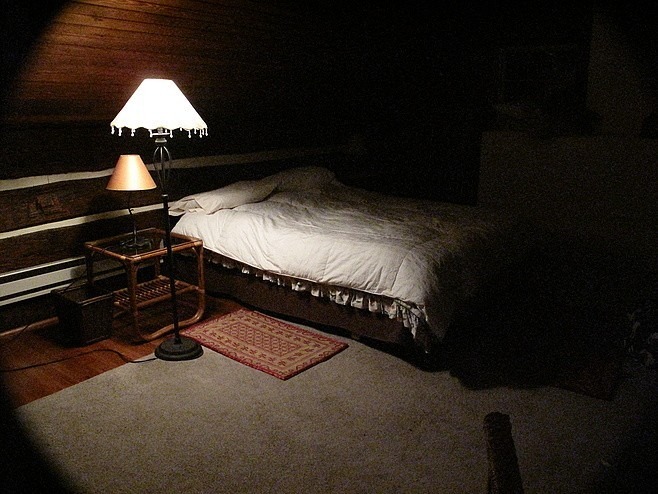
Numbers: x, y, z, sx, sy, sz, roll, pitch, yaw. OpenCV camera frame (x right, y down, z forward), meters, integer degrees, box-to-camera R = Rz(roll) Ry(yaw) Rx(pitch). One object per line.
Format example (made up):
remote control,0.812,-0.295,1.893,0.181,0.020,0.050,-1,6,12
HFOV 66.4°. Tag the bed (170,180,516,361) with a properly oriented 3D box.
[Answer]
bed,0.099,0.023,3.207,1.408,0.302,1.226,15,28,31
